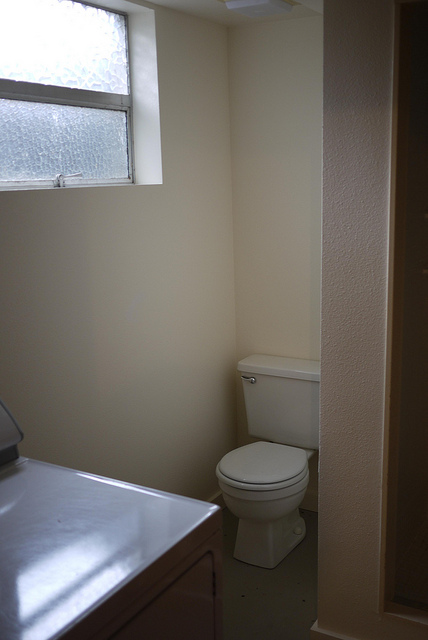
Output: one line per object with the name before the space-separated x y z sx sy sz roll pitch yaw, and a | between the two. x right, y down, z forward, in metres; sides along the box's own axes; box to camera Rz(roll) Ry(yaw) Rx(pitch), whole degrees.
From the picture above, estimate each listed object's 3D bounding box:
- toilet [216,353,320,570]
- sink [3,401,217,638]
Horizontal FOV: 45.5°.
toilet | 0.264 0.637 2.297 0.460 0.779 0.667 4 8 28
sink | -0.208 0.279 0.726 0.132 0.218 0.153 6 18 18
